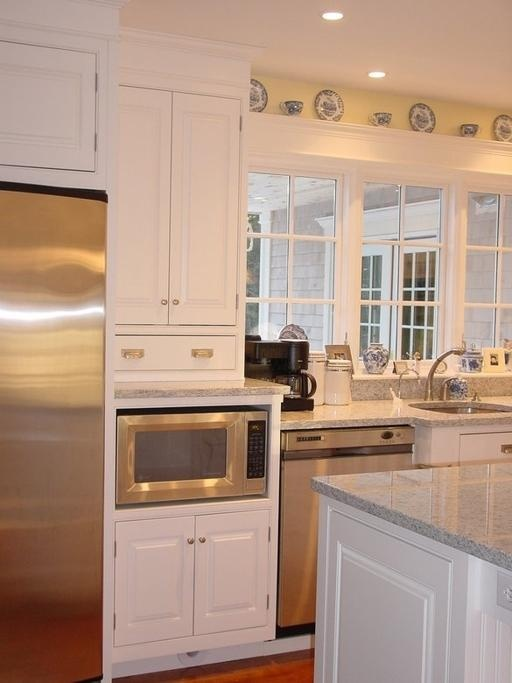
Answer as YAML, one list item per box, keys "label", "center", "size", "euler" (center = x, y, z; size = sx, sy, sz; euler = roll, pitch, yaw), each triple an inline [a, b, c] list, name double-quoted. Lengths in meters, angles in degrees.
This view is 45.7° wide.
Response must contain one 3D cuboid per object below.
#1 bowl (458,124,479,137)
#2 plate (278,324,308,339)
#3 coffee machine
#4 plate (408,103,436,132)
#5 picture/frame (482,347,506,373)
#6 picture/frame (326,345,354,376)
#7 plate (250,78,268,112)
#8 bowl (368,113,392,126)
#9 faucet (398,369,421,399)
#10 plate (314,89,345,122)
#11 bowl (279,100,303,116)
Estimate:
- label: "bowl"
  center: [1.264, -1.243, 3.581]
  size: [0.096, 0.072, 0.096]
  euler: [1, -5, 0]
- label: "plate"
  center: [0.194, -0.042, 3.218]
  size: [0.100, 0.055, 0.095]
  euler: [1, -4, -6]
- label: "coffee machine"
  center: [0.126, 0.153, 2.779]
  size: [0.276, 0.317, 0.363]
  euler: [-1, 2, -31]
- label: "plate"
  center: [0.965, -1.290, 3.517]
  size: [0.180, 0.168, 0.030]
  euler: [0, 4, -28]
- label: "picture/frame"
  center: [1.475, 0.122, 3.761]
  size: [0.153, 0.139, 0.080]
  euler: [2, -8, -23]
- label: "picture/frame"
  center: [0.437, 0.102, 3.185]
  size: [0.181, 0.195, 0.015]
  euler: [7, -38, -20]
- label: "plate"
  center: [0.019, -1.258, 3.129]
  size: [0.114, 0.172, 0.025]
  euler: [6, 0, -31]
- label: "bowl"
  center: [0.697, -1.230, 3.413]
  size: [0.095, 0.062, 0.097]
  euler: [0, -1, 0]
- label: "faucet"
  center: [0.874, 0.248, 3.453]
  size: [0.184, 0.168, 0.104]
  euler: [-1, 1, -27]
- label: "plate"
  center: [0.396, -1.280, 3.287]
  size: [0.189, 0.174, 0.036]
  euler: [4, 4, -34]
- label: "bowl"
  center: [0.192, -1.212, 3.150]
  size: [0.096, 0.059, 0.091]
  euler: [-1, 1, 0]
